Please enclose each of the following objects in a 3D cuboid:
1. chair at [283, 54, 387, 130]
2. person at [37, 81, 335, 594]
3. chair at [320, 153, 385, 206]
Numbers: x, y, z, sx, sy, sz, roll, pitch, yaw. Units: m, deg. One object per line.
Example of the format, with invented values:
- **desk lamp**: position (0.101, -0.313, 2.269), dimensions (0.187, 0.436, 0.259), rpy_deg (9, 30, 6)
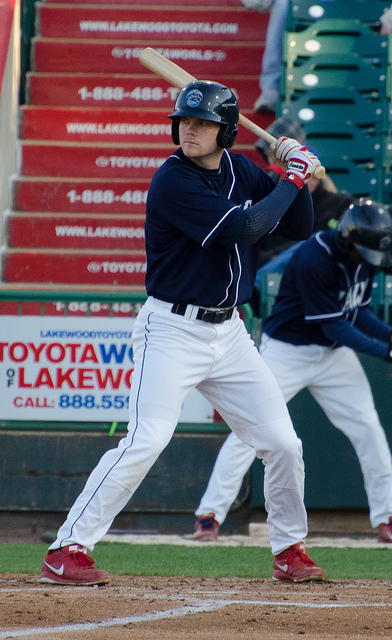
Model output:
- **chair**: position (0.918, -1.567, 7.823), dimensions (0.480, 0.311, 0.543), rpy_deg (0, 1, 15)
- **person**: position (0.013, 0.071, 4.528), dimensions (1.029, 1.909, 0.412), rpy_deg (0, 5, -30)
- **chair**: position (1.040, -0.902, 7.789), dimensions (0.404, 0.308, 0.421), rpy_deg (4, 3, 39)
